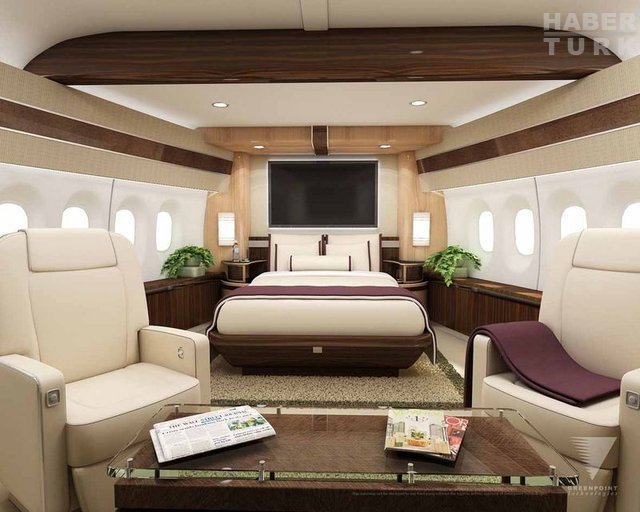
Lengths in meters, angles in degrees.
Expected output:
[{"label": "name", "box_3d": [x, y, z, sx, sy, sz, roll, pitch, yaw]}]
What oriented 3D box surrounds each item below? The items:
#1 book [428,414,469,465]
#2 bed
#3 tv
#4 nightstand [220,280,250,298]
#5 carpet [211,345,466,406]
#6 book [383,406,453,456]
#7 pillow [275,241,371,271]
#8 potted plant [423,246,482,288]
[{"label": "book", "box_3d": [0.611, 0.851, 2.101, 0.174, 0.433, 0.029, 8, 42, 11]}, {"label": "bed", "box_3d": [0.023, 0.504, 5.167, 2.307, 0.970, 2.682, 0, 7, -2]}, {"label": "tv", "box_3d": [0.071, -0.936, 6.633, 2.009, 1.013, 0.081, -7, 14, -34]}, {"label": "nightstand", "box_3d": [-1.221, 0.426, 6.024, 0.417, 0.204, 0.374, 1, 1, 4]}, {"label": "carpet", "box_3d": [0.177, 1.161, 3.947, 2.469, 0.092, 1.188, 0, 4, -3]}, {"label": "book", "box_3d": [0.474, 0.815, 2.072, 0.309, 0.261, 0.065, 3, 13, 7]}, {"label": "pillow", "box_3d": [0.116, 0.059, 6.052, 1.495, 0.503, 0.376, -1, -36, 2]}, {"label": "potted plant", "box_3d": [1.773, 0.111, 5.833, 0.693, 0.371, 0.637, -3, 6, -24]}]
